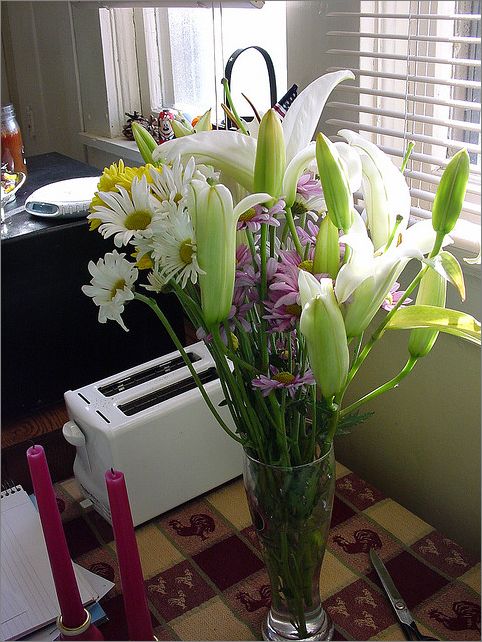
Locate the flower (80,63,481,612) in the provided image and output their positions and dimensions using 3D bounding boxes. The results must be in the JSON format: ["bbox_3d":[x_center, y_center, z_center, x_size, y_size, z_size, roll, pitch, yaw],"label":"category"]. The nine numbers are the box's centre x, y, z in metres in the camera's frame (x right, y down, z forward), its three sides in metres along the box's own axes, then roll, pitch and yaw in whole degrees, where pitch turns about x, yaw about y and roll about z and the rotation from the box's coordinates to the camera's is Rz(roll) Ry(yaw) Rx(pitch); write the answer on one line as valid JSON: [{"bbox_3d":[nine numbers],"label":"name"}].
[{"bbox_3d":[0.014,-0.029,0.422,0.267,0.304,0.289,1,39,14],"label":"flower"}]
